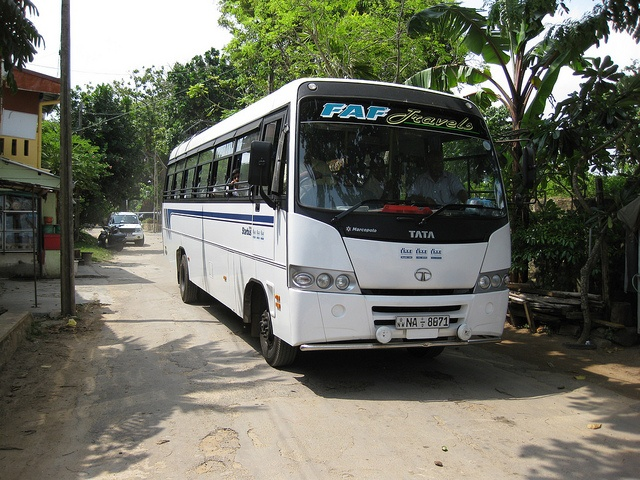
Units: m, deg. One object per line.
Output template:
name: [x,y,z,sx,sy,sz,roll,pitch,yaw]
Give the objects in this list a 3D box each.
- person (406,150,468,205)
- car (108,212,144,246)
person: [1.539,-0.803,6.379,0.676,0.718,0.842,-1,1,-13]
car: [-14.503,-0.772,34.542,2.226,2.435,3.661,-1,4,-25]
